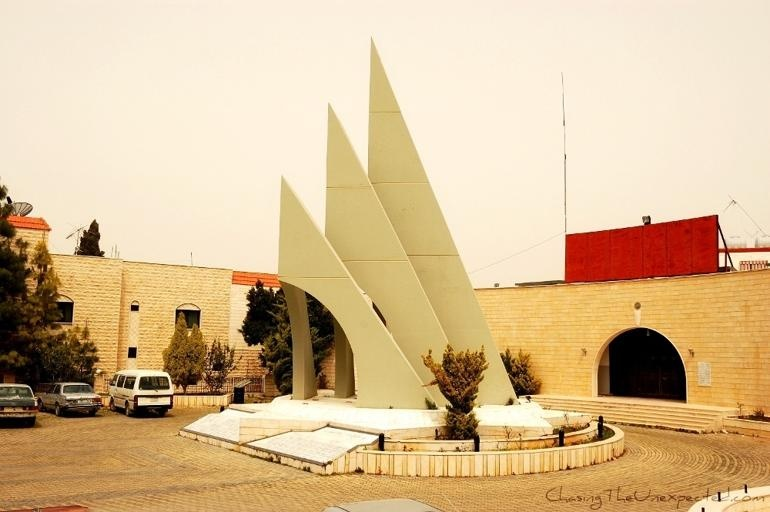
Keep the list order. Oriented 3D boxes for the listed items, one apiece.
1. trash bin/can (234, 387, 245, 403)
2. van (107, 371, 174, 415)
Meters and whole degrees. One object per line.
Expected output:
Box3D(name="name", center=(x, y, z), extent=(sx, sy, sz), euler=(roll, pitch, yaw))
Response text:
Box3D(name="trash bin/can", center=(-6.405, 6.054, 32.552), extent=(0.398, 0.765, 0.895), euler=(0, 5, -17))
Box3D(name="van", center=(-11.383, 6.344, 34.673), extent=(1.869, 1.666, 3.263), euler=(7, -10, -31))
